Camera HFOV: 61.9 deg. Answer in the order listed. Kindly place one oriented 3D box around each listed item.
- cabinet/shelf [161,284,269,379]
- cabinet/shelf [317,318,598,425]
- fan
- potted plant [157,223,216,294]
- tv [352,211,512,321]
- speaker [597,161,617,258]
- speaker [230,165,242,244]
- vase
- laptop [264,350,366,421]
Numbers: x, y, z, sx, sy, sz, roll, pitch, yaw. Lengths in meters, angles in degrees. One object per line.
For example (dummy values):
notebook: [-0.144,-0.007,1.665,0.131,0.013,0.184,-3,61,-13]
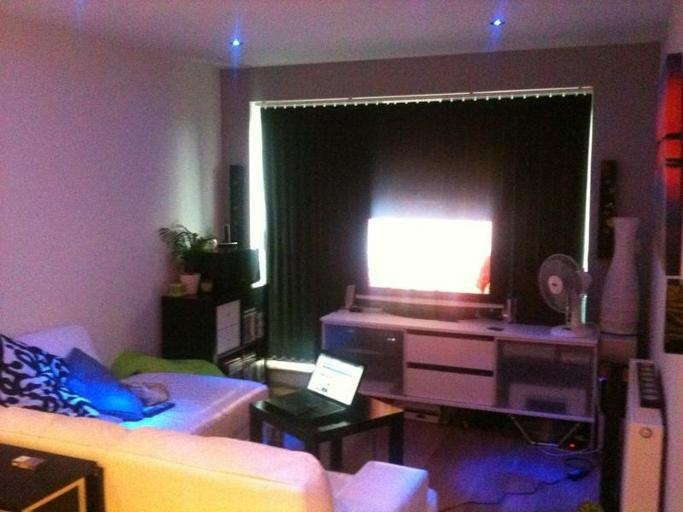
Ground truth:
cabinet/shelf: [-1.040,0.783,4.985,0.389,0.896,1.001,1,4,17]
cabinet/shelf: [0.939,0.914,4.636,2.193,0.680,0.557,1,0,27]
fan: [1.684,0.303,4.299,0.384,0.610,0.386,1,5,21]
potted plant: [-1.326,0.008,4.982,0.507,0.603,0.604,0,3,11]
tv: [0.810,0.084,4.746,0.917,0.607,0.320,2,2,17]
speaker: [2.071,-0.367,4.439,0.151,0.766,0.095,0,0,22]
speaker: [-0.959,-0.613,5.229,0.110,0.537,0.109,4,-28,-18]
vase: [2.068,0.148,4.204,0.246,0.861,0.198,1,10,10]
laptop: [-0.154,0.757,3.334,0.568,0.269,0.581,-1,5,5]
